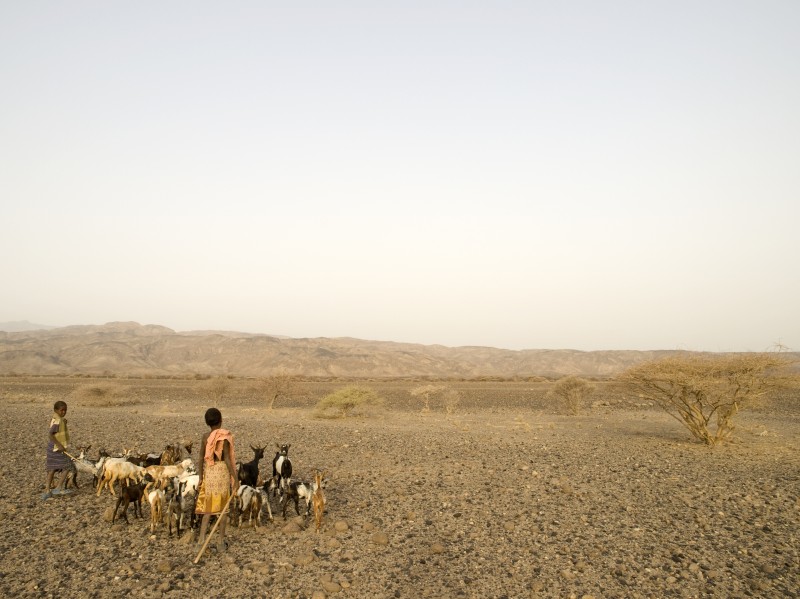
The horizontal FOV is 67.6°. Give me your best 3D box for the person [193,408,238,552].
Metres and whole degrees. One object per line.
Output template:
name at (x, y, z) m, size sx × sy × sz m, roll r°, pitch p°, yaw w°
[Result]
person at (-3.580, 3.476, 11.685) m, size 0.746 × 2.710 × 0.555 m, roll 0°, pitch -1°, yaw -19°
